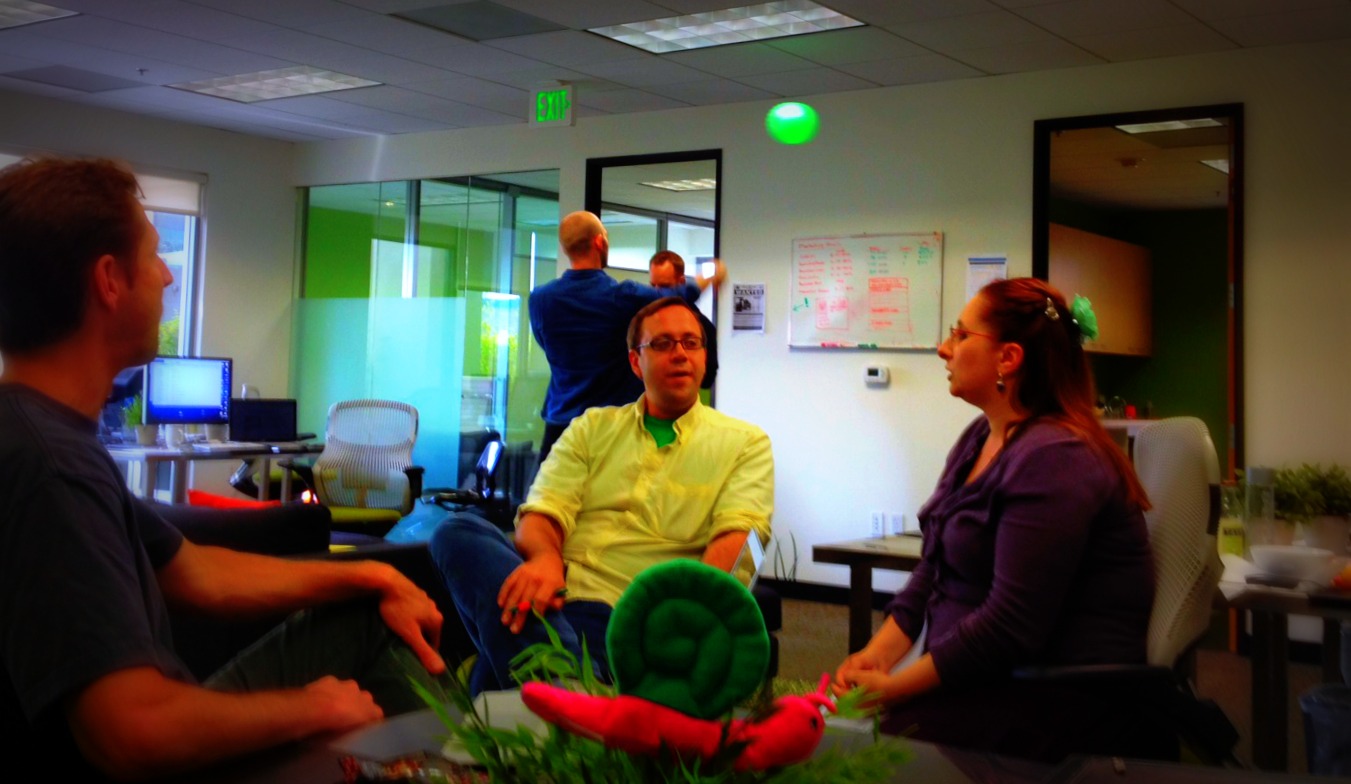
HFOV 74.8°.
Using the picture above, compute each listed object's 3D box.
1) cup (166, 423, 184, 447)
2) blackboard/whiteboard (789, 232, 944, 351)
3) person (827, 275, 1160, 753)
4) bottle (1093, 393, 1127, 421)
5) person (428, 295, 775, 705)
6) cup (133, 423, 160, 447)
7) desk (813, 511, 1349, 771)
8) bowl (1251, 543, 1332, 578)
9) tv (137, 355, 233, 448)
[{"bbox_3d":[-4.398,0.370,7.707,0.164,0.145,0.279,5,4,-26],"label":"cup"},{"bbox_3d":[1.426,-0.730,6.362,1.107,0.764,0.044,0,-4,24],"label":"blackboard/whiteboard"},{"bbox_3d":[0.835,0.371,2.577,1.013,1.253,0.872,-2,-3,23],"label":"person"},{"bbox_3d":[4.305,0.145,8.707,0.330,0.271,0.399,0,-9,3],"label":"bottle"},{"bbox_3d":[-0.221,0.231,2.774,1.077,1.076,0.615,-2,4,-30],"label":"person"},{"bbox_3d":[-4.285,0.337,7.129,0.192,0.144,0.186,-1,-5,0],"label":"cup"},{"bbox_3d":[1.817,0.788,3.787,1.374,1.186,1.386,-4,-9,41],"label":"desk"},{"bbox_3d":[2.002,0.527,2.876,0.138,0.056,0.139,0,-4,0],"label":"bowl"},{"bbox_3d":[-4.029,0.063,7.217,0.402,0.731,0.784,-3,-3,32],"label":"tv"}]
